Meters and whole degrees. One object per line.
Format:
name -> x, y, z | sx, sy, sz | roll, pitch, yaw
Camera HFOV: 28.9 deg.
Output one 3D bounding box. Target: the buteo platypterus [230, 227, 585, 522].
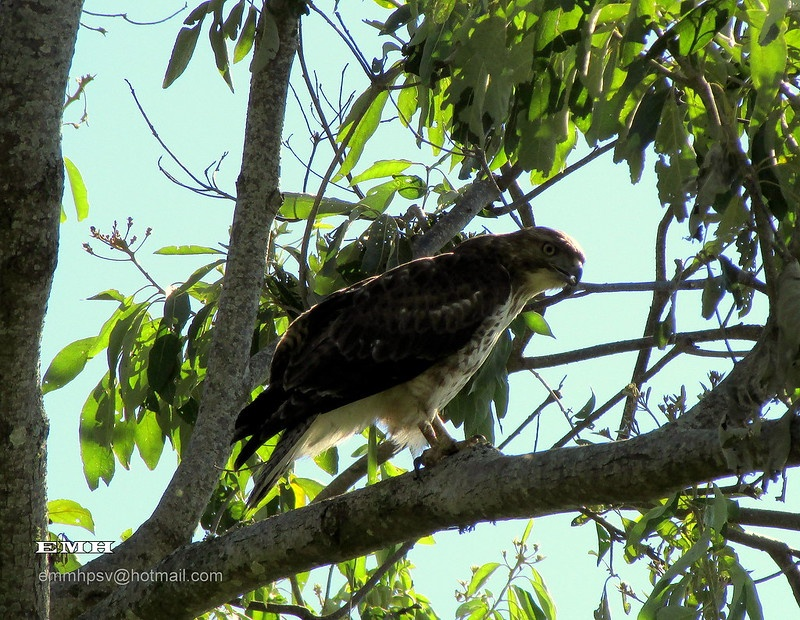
buteo platypterus -> 0.055, 0.297, 7.159 | 1.549, 1.301, 0.783 | -2, -21, 5
